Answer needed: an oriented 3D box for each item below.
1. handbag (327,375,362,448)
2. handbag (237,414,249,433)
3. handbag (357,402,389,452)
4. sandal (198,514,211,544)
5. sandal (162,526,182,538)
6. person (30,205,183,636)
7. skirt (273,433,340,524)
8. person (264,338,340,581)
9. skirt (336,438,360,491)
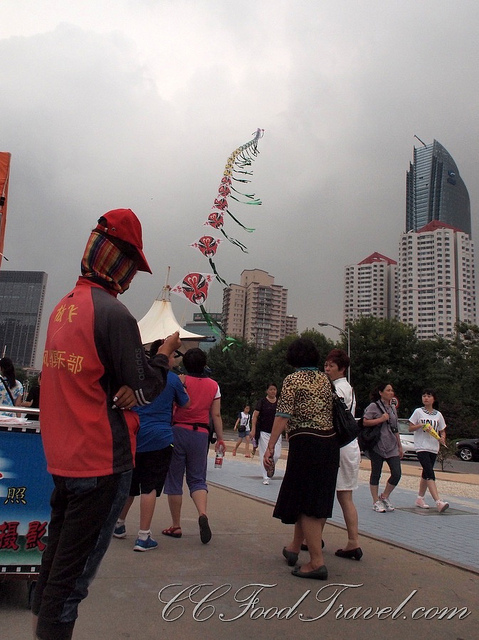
[{"bbox_3d":[0.902,0.832,4.315,0.307,0.581,0.354,5,-4,9],"label":"handbag"},{"bbox_3d":[0.130,4.459,20.498,0.336,0.544,0.582,6,-4,-1],"label":"handbag"},{"bbox_3d":[1.992,1.593,7.451,0.455,0.734,0.569,0,-11,17],"label":"handbag"},{"bbox_3d":[-0.349,2.049,4.822,0.090,0.231,0.085,-16,-27,6],"label":"sandal"},{"bbox_3d":[-0.705,2.225,5.187,0.077,0.082,0.199,13,-10,-40],"label":"sandal"},{"bbox_3d":[-0.570,0.346,2.039,0.459,1.148,0.427,9,-5,-34],"label":"person"},{"bbox_3d":[0.549,1.326,4.077,0.483,0.754,0.279,5,-5,8],"label":"skirt"},{"bbox_3d":[0.553,1.096,4.173,0.551,1.871,0.515,5,-5,11],"label":"person"},{"bbox_3d":[1.051,1.396,4.933,0.191,0.593,0.164,31,-33,-21],"label":"skirt"}]
